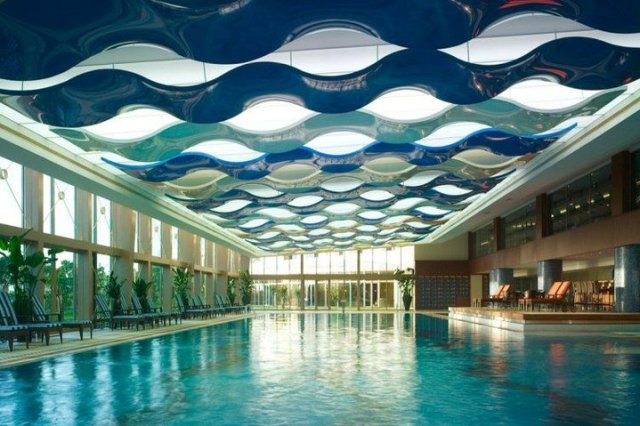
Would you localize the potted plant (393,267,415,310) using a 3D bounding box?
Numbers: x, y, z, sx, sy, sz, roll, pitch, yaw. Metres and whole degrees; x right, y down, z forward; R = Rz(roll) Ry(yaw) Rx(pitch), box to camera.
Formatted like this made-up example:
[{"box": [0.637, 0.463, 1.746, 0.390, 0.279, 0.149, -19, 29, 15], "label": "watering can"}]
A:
[{"box": [7.408, 6.668, 44.490, 1.502, 3.690, 2.194, 3, -12, -11], "label": "potted plant"}]
